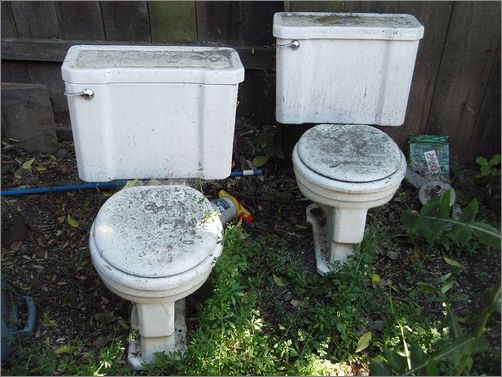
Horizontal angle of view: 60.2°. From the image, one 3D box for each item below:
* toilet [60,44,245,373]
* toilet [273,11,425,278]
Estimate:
[{"bbox_3d":[-0.449,0.063,2.121,0.836,1.278,0.984,-1,32,-1],"label":"toilet"},{"bbox_3d":[0.488,-0.279,2.511,0.866,1.227,1.030,8,33,13],"label":"toilet"}]
